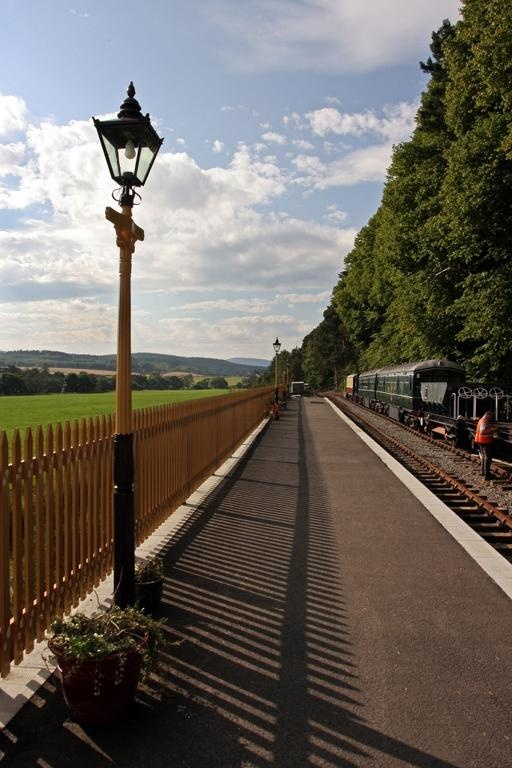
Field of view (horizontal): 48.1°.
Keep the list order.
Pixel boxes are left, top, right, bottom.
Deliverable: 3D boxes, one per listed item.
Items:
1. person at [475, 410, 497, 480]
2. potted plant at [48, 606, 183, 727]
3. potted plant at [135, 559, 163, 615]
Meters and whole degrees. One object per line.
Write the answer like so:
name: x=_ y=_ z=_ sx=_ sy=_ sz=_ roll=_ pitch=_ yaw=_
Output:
person: x=5.029 y=1.318 z=12.662 sx=0.356 sy=0.993 sz=0.858 roll=1 pitch=1 yaw=21
potted plant: x=-0.926 y=1.774 z=3.622 sx=0.664 sy=0.697 sz=0.687 roll=6 pitch=-33 yaw=-23
potted plant: x=-0.891 y=1.720 z=4.916 sx=0.326 sy=0.310 sz=0.386 roll=0 pitch=-7 yaw=-10
